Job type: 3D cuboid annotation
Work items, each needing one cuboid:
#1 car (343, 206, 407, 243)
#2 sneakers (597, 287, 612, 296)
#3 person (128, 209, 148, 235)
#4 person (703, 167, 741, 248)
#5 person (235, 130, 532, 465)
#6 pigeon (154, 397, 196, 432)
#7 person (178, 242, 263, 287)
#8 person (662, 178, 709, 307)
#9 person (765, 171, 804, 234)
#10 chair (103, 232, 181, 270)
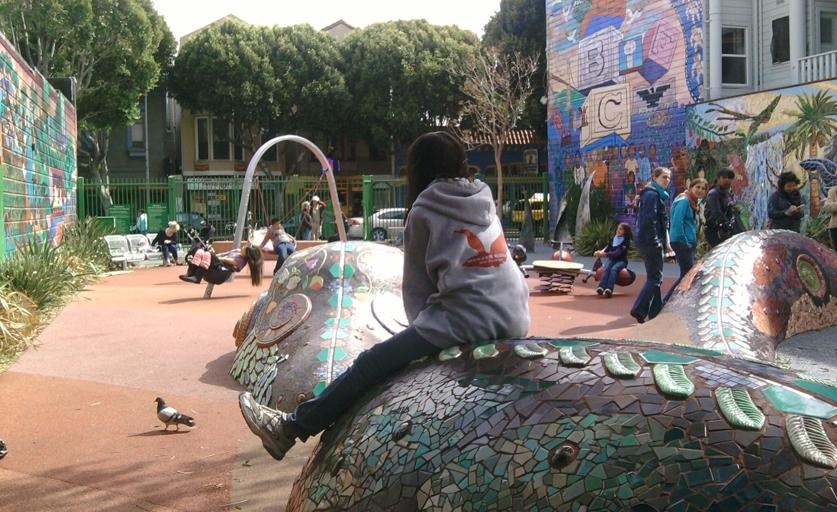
[{"bbox_3d":[-2.316,-1.281,24.917,3.417,1.395,1.709,-2,3,-2],"label":"car"},{"bbox_3d":[3.936,0.748,13.079,0.318,0.194,0.247,2,7,16],"label":"sneakers"},{"bbox_3d":[-11.338,-1.377,24.985,0.470,1.026,3.158,-4,8,-28],"label":"person"},{"bbox_3d":[4.942,-0.776,10.075,0.457,1.293,0.668,4,8,33],"label":"person"},{"bbox_3d":[-0.085,0.352,3.630,1.457,1.598,0.436,0,7,-1],"label":"person"},{"bbox_3d":[-2.422,1.541,6.050,0.442,0.311,0.173,1,-7,8],"label":"pigeon"},{"bbox_3d":[-4.012,0.312,12.650,1.590,0.994,0.972,-2,7,-15],"label":"person"},{"bbox_3d":[4.047,-0.408,9.406,0.410,1.470,0.725,6,9,40],"label":"person"},{"bbox_3d":[7.104,-1.041,11.929,0.515,1.144,1.796,4,8,31],"label":"person"},{"bbox_3d":[-9.131,-0.136,19.613,1.027,1.094,2.212,1,7,4],"label":"chair"}]
